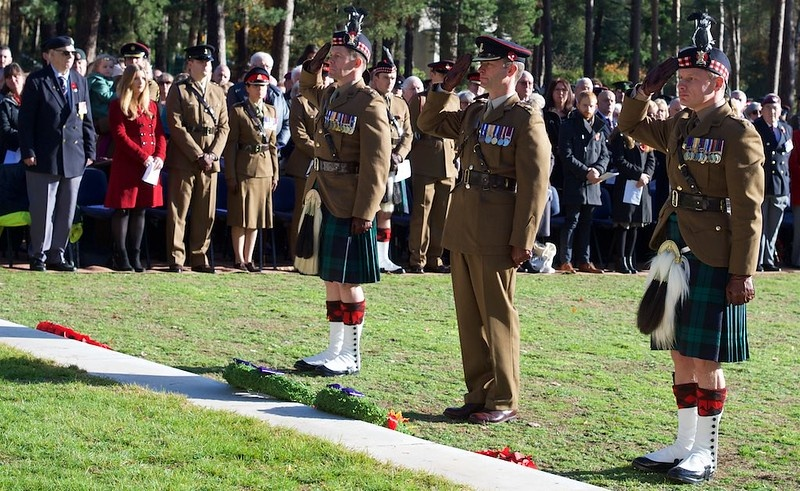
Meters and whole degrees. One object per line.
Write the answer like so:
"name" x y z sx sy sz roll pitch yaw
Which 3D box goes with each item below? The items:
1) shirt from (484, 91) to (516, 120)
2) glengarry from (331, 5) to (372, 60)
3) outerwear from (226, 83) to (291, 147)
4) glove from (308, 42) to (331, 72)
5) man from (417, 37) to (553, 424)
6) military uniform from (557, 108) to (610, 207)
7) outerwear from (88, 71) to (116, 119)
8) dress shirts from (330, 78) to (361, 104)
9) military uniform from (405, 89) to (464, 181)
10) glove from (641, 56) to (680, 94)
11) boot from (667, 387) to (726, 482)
"shirt" 0.926 -1.329 11.136 0.216 0.189 0.277 -15 -24 0
"glengarry" -0.453 -2.124 12.028 0.405 0.434 0.525 4 7 -3
"outerwear" -1.925 -1.737 16.111 0.923 1.007 0.524 -2 -4 -16
"glove" -0.833 -1.930 12.217 0.219 0.318 0.157 28 39 10
"man" 0.808 -0.135 11.301 1.440 3.548 0.785 -2 -5 41
"military uniform" 2.583 -1.213 16.805 0.732 1.339 0.510 4 13 0
"outerwear" -4.053 -2.119 16.656 0.541 0.784 0.667 -3 4 -15
"dress shirts" -0.567 -1.542 11.992 0.226 0.232 0.314 -3 9 -3
"military uniform" 0.478 -1.532 16.586 0.861 1.160 0.597 -1 2 -27
"glove" 2.273 -1.480 10.433 0.232 0.344 0.106 34 16 13
"boot" 2.558 1.613 10.209 0.312 0.746 0.503 11 15 27
